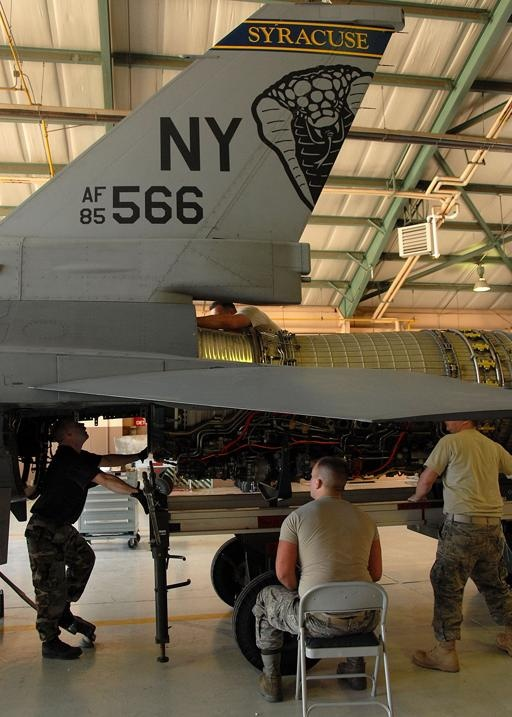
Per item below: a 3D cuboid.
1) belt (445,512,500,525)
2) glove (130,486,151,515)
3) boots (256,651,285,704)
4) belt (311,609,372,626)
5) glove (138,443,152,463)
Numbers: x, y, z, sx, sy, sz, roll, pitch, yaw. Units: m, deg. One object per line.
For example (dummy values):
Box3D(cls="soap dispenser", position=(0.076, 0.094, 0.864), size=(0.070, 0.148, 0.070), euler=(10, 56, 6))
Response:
Box3D(cls="belt", position=(1.447, 1.078, 4.324), size=(0.344, 0.085, 0.132), euler=(-5, -6, 11))
Box3D(cls="glove", position=(-0.823, 1.012, 4.669), size=(0.073, 0.214, 0.221), euler=(-26, -25, -7))
Box3D(cls="boots", position=(0.095, 1.882, 3.922), size=(0.148, 0.270, 0.308), euler=(-2, -7, -5))
Box3D(cls="belt", position=(0.471, 1.366, 3.433), size=(0.210, 0.045, 0.134), euler=(0, -7, -4))
Box3D(cls="glove", position=(-0.824, 0.699, 4.803), size=(0.133, 0.061, 0.168), euler=(9, -24, -14))
